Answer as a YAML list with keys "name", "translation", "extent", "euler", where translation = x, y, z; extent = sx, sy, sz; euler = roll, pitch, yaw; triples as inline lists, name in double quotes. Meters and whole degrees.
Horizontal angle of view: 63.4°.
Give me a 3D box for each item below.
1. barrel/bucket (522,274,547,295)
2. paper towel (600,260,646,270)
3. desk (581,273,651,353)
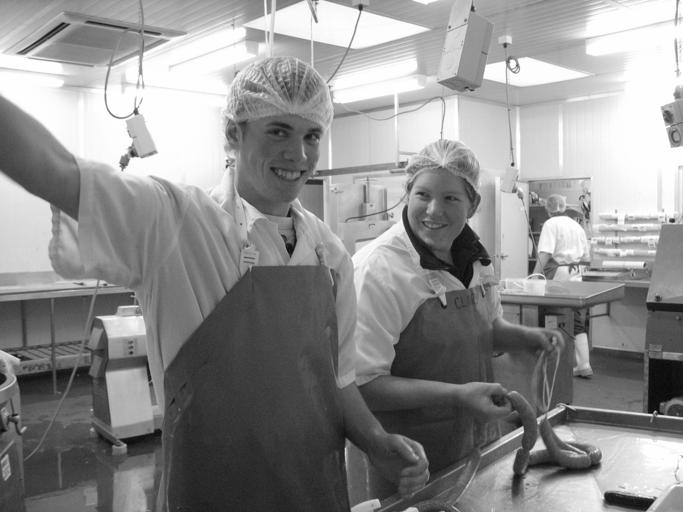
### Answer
- name: "barrel/bucket"
  translation: [1.587, 0.243, 4.557]
  extent: [0.129, 0.108, 0.133]
  euler: [2, 2, 0]
- name: "paper towel"
  translation: [3.709, 0.118, 7.299]
  extent: [0.461, 0.112, 0.113]
  euler: [2, 11, 34]
- name: "desk"
  translation: [2.893, 0.590, 5.796]
  extent: [0.849, 0.953, 0.649]
  euler: [1, 0, 21]
